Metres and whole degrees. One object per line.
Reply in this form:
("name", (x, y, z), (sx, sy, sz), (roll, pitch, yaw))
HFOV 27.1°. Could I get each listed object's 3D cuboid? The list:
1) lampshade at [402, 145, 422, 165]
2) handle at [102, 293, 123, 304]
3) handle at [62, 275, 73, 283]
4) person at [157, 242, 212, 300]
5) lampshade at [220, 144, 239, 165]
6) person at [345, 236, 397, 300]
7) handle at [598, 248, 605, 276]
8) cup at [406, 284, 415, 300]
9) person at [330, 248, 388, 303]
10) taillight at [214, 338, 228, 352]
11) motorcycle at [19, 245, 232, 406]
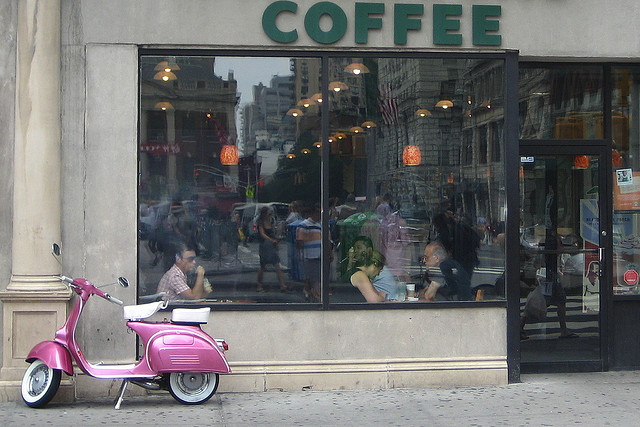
("lampshade", (1.318, -0.822, 18.990), (0.264, 0.253, 0.264), (1, -5, -12))
("handle", (-2.831, 1.176, 18.240), (0.284, 0.085, 0.076), (23, 0, -2))
("handle", (-3.410, 0.908, 18.119), (0.148, 0.059, 0.039), (29, -2, -35))
("person", (-1.947, 0.835, 19.280), (0.818, 1.222, 0.707), (1, 3, -11))
("lampshade", (-1.258, -0.823, 18.792), (0.282, 0.266, 0.246), (-2, 5, -14))
("person", (0.830, 0.755, 18.865), (0.613, 1.050, 0.639), (-1, 3, -20))
("handle", (4.074, 0.709, 19.252), (0.081, 0.330, 0.036), (-1, 0, 19))
("cup", (1.301, 1.123, 18.916), (0.164, 0.253, 0.163), (1, -1, 0))
("person", (0.565, 0.867, 18.919), (0.769, 0.468, 0.774), (3, -1, 1))
("taillight", (-1.295, 1.786, 17.918), (0.151, 0.061, 0.151), (7, 22, -5))
("motorcycle", (-2.636, 1.635, 18.149), (2.839, 1.937, 1.124), (0, 3, -6))
